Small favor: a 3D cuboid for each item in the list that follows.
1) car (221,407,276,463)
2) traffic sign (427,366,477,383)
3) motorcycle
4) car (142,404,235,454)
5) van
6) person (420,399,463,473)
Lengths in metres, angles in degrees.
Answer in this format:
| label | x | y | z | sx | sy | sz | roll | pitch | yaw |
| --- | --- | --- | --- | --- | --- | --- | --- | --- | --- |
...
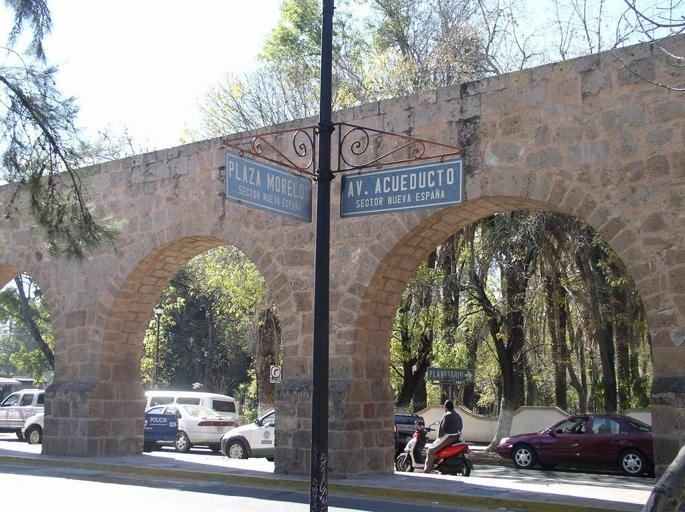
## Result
| label | x | y | z | sx | sy | sz | roll | pitch | yaw |
| --- | --- | --- | --- | --- | --- | --- | --- | --- | --- |
| car | -2.322 | 4.589 | 21.204 | 2.133 | 1.297 | 1.268 | -1 | -18 | 14 |
| traffic sign | 3.580 | 3.938 | 27.063 | 1.339 | 0.377 | 1.486 | -5 | -10 | 39 |
| motorcycle | 1.967 | 4.234 | 17.705 | 1.664 | 1.255 | 0.951 | -9 | -28 | 33 |
| car | -4.459 | 5.008 | 23.899 | 2.527 | 1.042 | 1.336 | 1 | -11 | 16 |
| van | -4.499 | 4.508 | 25.000 | 2.420 | 1.280 | 1.535 | 1 | -17 | 5 |
| person | 2.073 | 3.772 | 17.040 | 0.778 | 1.462 | 0.570 | -1 | -14 | 6 |
